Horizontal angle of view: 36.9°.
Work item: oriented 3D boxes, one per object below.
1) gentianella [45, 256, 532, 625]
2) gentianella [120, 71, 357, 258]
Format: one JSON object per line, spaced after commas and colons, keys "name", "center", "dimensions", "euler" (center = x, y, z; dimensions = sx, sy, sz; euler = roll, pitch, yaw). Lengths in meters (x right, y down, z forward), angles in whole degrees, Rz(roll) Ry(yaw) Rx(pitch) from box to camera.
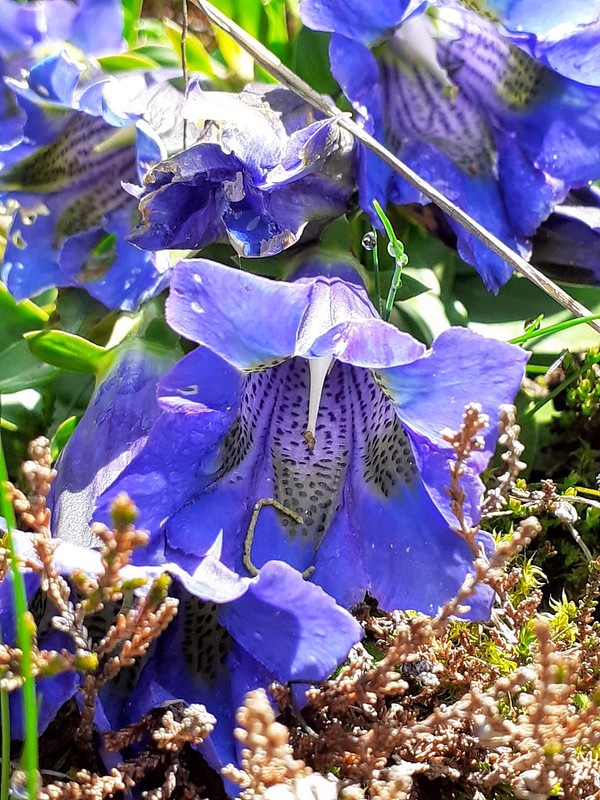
{"name": "gentianella", "center": [-0.003, 0.037, 0.663], "dimensions": [0.305, 0.281, 0.123], "euler": [12, 6, -3]}
{"name": "gentianella", "center": [-0.035, -0.178, 0.682], "dimensions": [0.135, 0.132, 0.176], "euler": [8, 26, 36]}
